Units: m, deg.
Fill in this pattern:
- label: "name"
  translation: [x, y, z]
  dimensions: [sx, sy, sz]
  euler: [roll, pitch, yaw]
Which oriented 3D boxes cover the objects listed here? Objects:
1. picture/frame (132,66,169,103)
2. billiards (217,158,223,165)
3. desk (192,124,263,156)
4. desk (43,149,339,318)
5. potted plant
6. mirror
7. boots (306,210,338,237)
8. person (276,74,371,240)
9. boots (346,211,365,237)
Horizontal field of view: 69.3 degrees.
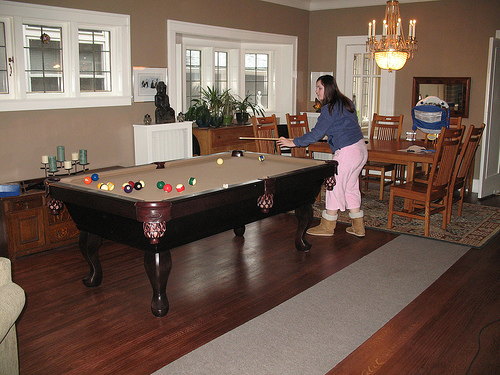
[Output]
- label: "picture/frame"
  translation: [-1.456, -1.496, 5.265]
  dimensions: [0.103, 0.488, 0.566]
  euler: [11, 17, 37]
- label: "billiards"
  translation: [-0.297, -0.257, 3.557]
  dimensions: [0.060, 0.063, 0.023]
  euler: [-11, 4, -16]
- label: "desk"
  translation: [-0.414, -0.822, 6.147]
  dimensions: [1.469, 0.634, 0.705]
  euler: [-13, 22, -41]
- label: "desk"
  translation: [-0.400, 0.300, 3.424]
  dimensions: [1.359, 0.906, 2.351]
  euler: [7, 11, 36]
- label: "potted plant"
  translation: [-0.507, -1.420, 6.187]
  dimensions: [0.483, 0.788, 1.600]
  euler: [13, 15, 37]
- label: "mirror"
  translation: [3.367, -1.597, 6.382]
  dimensions: [0.943, 0.702, 0.143]
  euler: [8, 16, 29]
- label: "boots"
  translation: [0.876, 0.421, 4.345]
  dimensions: [0.427, 0.331, 0.209]
  euler: [2, 11, 9]
- label: "person"
  translation: [0.949, -0.321, 4.206]
  dimensions: [0.862, 2.108, 0.755]
  euler: [2, 4, 25]
- label: "boots"
  translation: [1.271, 0.412, 4.351]
  dimensions: [0.177, 0.301, 0.302]
  euler: [-9, 11, -15]
